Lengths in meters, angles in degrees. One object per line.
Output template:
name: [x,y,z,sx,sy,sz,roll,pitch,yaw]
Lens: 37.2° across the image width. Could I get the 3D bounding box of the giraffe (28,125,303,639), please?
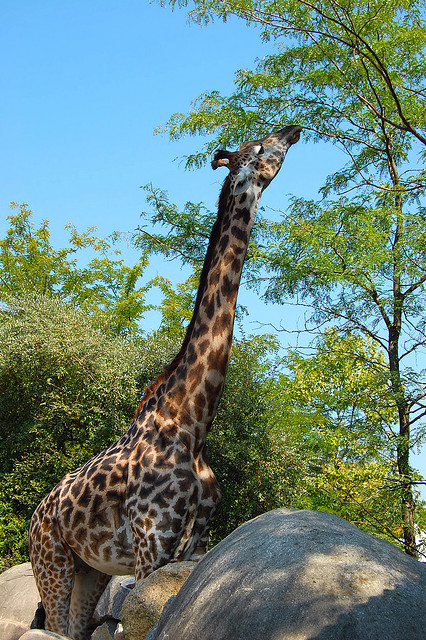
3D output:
giraffe: [-0.221,0.379,3.497,0.780,2.484,1.090,11,-4,-39]
